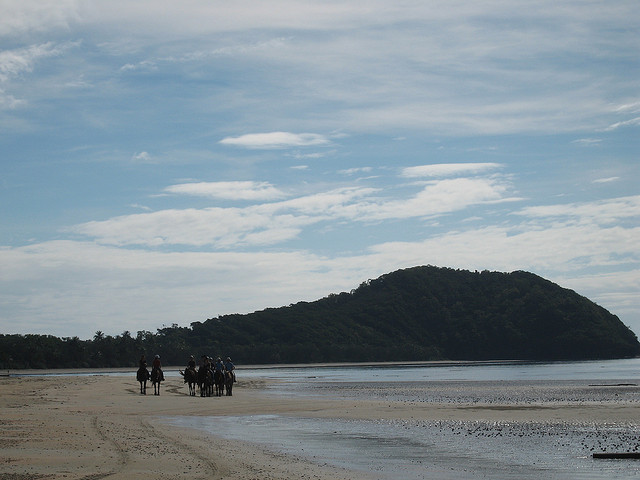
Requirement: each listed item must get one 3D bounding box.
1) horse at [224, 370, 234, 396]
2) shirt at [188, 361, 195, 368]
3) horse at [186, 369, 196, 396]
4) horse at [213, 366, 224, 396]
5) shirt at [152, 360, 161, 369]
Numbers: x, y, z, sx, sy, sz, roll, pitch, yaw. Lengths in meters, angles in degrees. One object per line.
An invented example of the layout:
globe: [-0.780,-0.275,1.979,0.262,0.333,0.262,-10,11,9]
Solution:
horse: [-8.315,12.927,104.100,0.674,2.208,1.211,-1,9,0]
shirt: [-11.599,11.208,103.403,0.468,0.740,1.009,-1,7,-3]
horse: [-11.715,12.863,103.883,0.864,2.488,1.919,-1,8,-6]
horse: [-9.204,12.728,103.224,0.855,2.438,1.632,-1,9,-4]
shirt: [-14.696,11.102,102.558,0.571,0.901,0.888,-2,8,-10]
